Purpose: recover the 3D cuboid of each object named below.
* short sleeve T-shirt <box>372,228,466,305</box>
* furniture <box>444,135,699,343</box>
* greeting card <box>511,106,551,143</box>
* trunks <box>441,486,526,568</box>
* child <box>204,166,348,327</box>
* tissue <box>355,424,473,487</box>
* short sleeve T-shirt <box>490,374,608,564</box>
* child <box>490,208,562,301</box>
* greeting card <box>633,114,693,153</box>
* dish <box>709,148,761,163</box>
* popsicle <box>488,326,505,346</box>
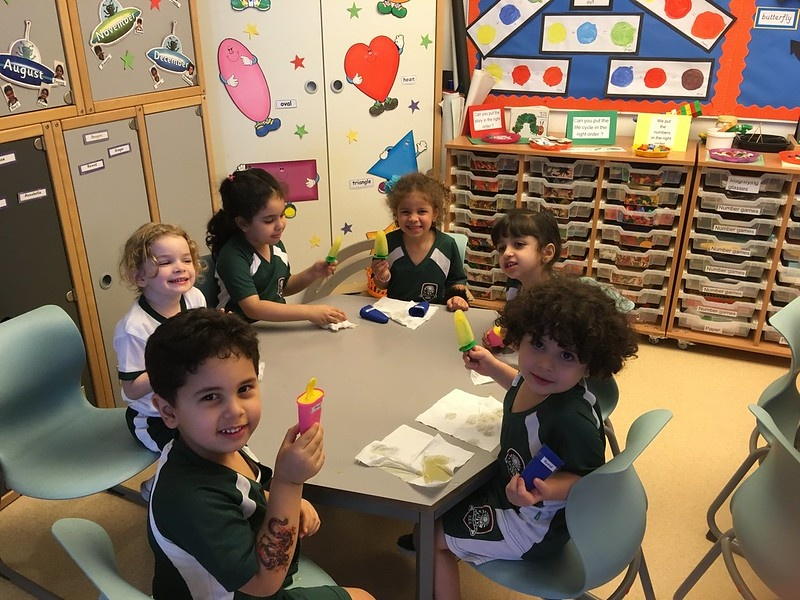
[{"bbox_3d":[0.093,-0.143,2.645,0.430,0.442,0.225,8,34,7],"label":"short sleeve T-shirt"},{"bbox_3d":[0.955,-0.355,2.829,1.108,1.052,0.488,2,19,15],"label":"furniture"},{"bbox_3d":[0.833,-1.117,3.561,0.265,0.317,0.100,11,9,19],"label":"greeting card"},{"bbox_3d":[0.263,0.616,1.546,0.096,0.182,0.231,9,-3,-43],"label":"trunks"},{"bbox_3d":[-0.585,-0.272,2.564,0.626,0.727,0.422,17,39,1],"label":"child"},{"bbox_3d":[0.049,0.450,1.515,0.286,0.079,0.300,8,11,19],"label":"tissue"},{"bbox_3d":[0.384,0.451,1.426,0.223,0.440,0.443,2,10,-4],"label":"short sleeve T-shirt"},{"bbox_3d":[0.506,-0.173,2.252,0.272,0.392,0.246,6,-9,-27],"label":"child"},{"bbox_3d":[1.529,-0.977,3.239,0.290,0.211,0.296,11,19,26],"label":"greeting card"},{"bbox_3d":[1.830,-0.788,3.041,0.241,0.071,0.259,15,21,35],"label":"dish"},{"bbox_3d":[0.334,0.128,1.937,0.051,0.066,0.068,6,30,4],"label":"popsicle"}]
